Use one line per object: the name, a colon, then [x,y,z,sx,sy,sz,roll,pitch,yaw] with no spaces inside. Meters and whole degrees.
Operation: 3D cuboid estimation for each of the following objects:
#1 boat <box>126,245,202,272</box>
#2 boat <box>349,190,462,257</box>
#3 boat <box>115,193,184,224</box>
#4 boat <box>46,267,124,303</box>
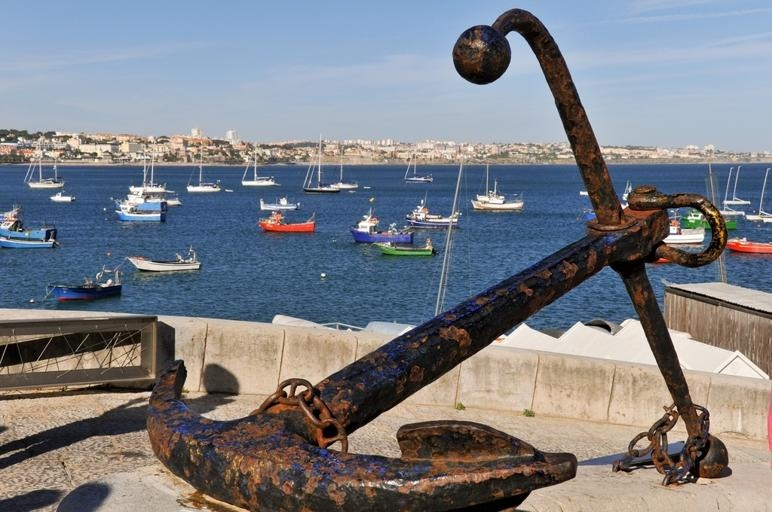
boat: [-14.160,0.531,52.942,4.405,1.112,1.313,-6,11,-41]
boat: [-0.038,-1.229,70.567,12.052,5.019,4.162,0,10,10]
boat: [-25.905,-5.115,88.215,4.453,2.057,10.001,0,8,-10]
boat: [-16.437,1.844,44.432,2.176,1.185,3.851,7,10,32]
